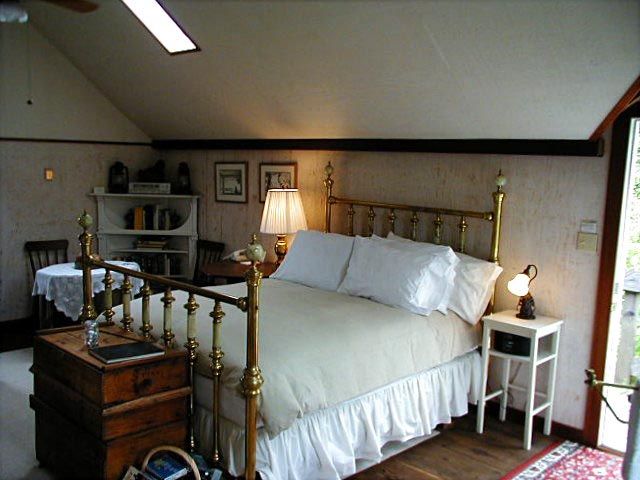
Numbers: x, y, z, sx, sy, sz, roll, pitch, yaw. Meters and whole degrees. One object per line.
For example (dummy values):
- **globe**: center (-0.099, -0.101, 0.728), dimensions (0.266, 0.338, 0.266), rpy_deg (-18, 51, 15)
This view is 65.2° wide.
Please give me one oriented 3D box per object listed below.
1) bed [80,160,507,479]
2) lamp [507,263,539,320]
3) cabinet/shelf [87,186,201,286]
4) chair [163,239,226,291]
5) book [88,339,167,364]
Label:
- **bed**: center (-0.033, 0.498, 3.724), dimensions (2.019, 1.870, 2.624), rpy_deg (11, 14, 42)
- **lamp**: center (1.504, 0.374, 3.688), dimensions (0.201, 0.372, 0.311), rpy_deg (6, 12, 23)
- **cabinet/shelf**: center (-2.120, -0.026, 6.244), dimensions (1.249, 1.215, 0.404), rpy_deg (1, 23, -10)
- **chair**: center (-1.413, 0.285, 6.134), dimensions (0.492, 0.869, 0.549), rpy_deg (5, 3, 21)
- **book**: center (-1.073, 0.602, 2.756), dimensions (0.340, 0.042, 0.369), rpy_deg (-7, 13, -37)
